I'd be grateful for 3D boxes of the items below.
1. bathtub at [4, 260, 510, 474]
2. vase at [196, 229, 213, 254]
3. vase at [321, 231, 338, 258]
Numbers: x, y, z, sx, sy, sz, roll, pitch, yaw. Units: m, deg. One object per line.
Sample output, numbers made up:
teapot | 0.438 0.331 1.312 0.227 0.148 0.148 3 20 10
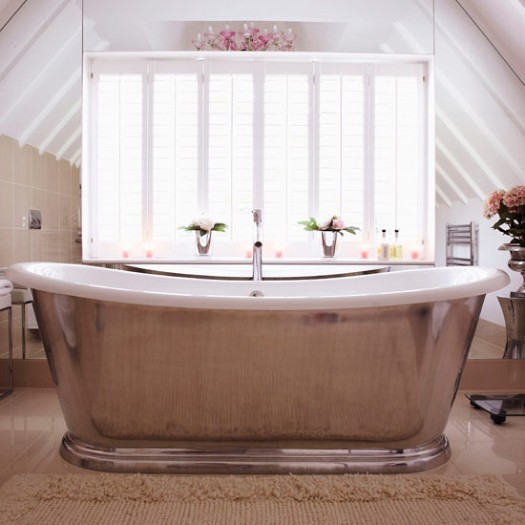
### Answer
bathtub | -0.024 0.407 1.988 1.731 0.747 0.263 1 9 1
vase | -0.360 -0.122 3.261 0.113 0.190 0.117 1 0 -2
vase | 0.415 -0.117 3.316 0.095 0.168 0.142 1 9 4
